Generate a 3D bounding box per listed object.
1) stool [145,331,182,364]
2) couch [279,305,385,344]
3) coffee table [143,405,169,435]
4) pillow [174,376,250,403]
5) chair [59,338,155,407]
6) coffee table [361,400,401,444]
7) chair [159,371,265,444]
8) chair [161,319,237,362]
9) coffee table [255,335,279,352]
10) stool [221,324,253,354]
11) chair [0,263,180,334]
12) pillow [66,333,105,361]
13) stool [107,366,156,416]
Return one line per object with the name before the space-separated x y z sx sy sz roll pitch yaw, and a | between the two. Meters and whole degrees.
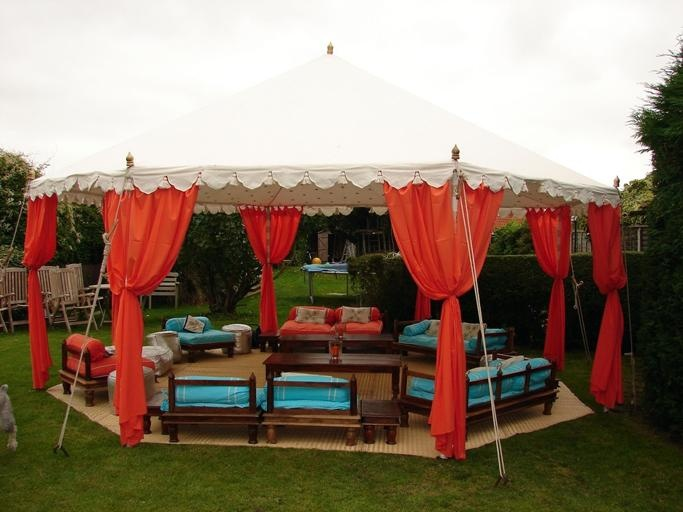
stool | -3.714 1.944 13.483 0.619 0.661 0.649 -3 -1 -18
couch | -0.223 1.442 14.338 2.206 0.667 1.383 1 -1 0
coffee table | -2.921 2.474 10.030 0.373 0.393 0.572 0 -4 -5
pillow | -1.965 2.058 9.831 0.912 0.318 0.490 1 41 -2
chair | -4.305 2.020 11.824 1.715 1.086 1.736 1 1 31
coffee table | 0.584 2.587 9.999 0.614 0.657 0.583 1 0 2
chair | -2.013 2.212 9.982 1.161 0.757 1.197 1 -5 -3
chair | -3.098 1.797 14.116 1.425 0.768 1.536 2 1 15
coffee table | -1.650 1.937 14.331 0.432 0.324 0.656 1 -4 -1
stool | -2.358 1.878 14.455 0.596 0.605 0.605 0 -6 -7
chair | -7.433 1.191 17.002 3.009 1.494 1.800 2 -1 29
pillow | -4.562 1.561 11.354 0.730 0.401 0.320 5 -27 37
stool | -3.401 2.195 10.692 0.692 0.608 0.713 -8 12 33
